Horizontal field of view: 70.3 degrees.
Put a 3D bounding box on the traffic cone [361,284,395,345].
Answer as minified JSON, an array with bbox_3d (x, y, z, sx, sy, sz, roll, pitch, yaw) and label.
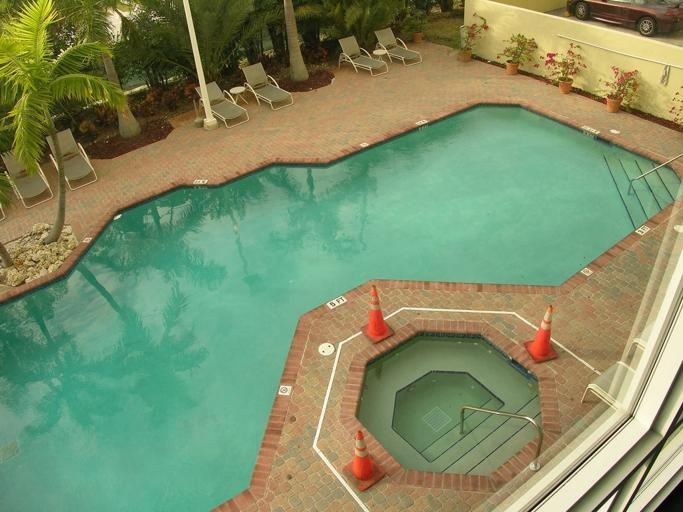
[{"bbox_3d":[0.640,1.017,9.132,0.674,0.941,0.758,3,30,17],"label":"traffic cone"}]

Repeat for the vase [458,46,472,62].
[{"bbox_3d":[4.799,-7.878,18.800,0.407,0.330,0.457,16,59,15],"label":"vase"}]

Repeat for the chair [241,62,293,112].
[{"bbox_3d":[-2.650,-6.199,17.409,1.366,1.073,2.420,-17,38,-16],"label":"chair"}]

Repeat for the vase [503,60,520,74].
[{"bbox_3d":[6.140,-6.884,17.573,0.444,0.372,0.513,1,50,1],"label":"vase"}]

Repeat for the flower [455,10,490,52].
[{"bbox_3d":[5.203,-8.799,18.989,1.256,1.349,0.309,42,14,4],"label":"flower"}]

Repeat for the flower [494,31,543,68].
[{"bbox_3d":[6.394,-7.572,17.472,1.031,1.121,1.319,-4,53,1],"label":"flower"}]

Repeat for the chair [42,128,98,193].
[{"bbox_3d":[-7.933,-2.816,14.132,0.859,0.598,1.689,-29,71,-4],"label":"chair"}]

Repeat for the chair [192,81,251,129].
[{"bbox_3d":[-4.129,-5.334,16.725,1.140,0.984,2.449,-26,61,-17],"label":"chair"}]

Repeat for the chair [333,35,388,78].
[{"bbox_3d":[0.788,-7.961,19.013,1.441,1.112,2.427,-28,42,-28],"label":"chair"}]

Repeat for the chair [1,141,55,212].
[{"bbox_3d":[-8.168,-2.019,12.570,0.880,0.779,1.962,-20,63,-27],"label":"chair"}]

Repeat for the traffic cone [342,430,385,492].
[{"bbox_3d":[0.295,2.922,7.169,0.539,0.713,0.565,10,25,42],"label":"traffic cone"}]
